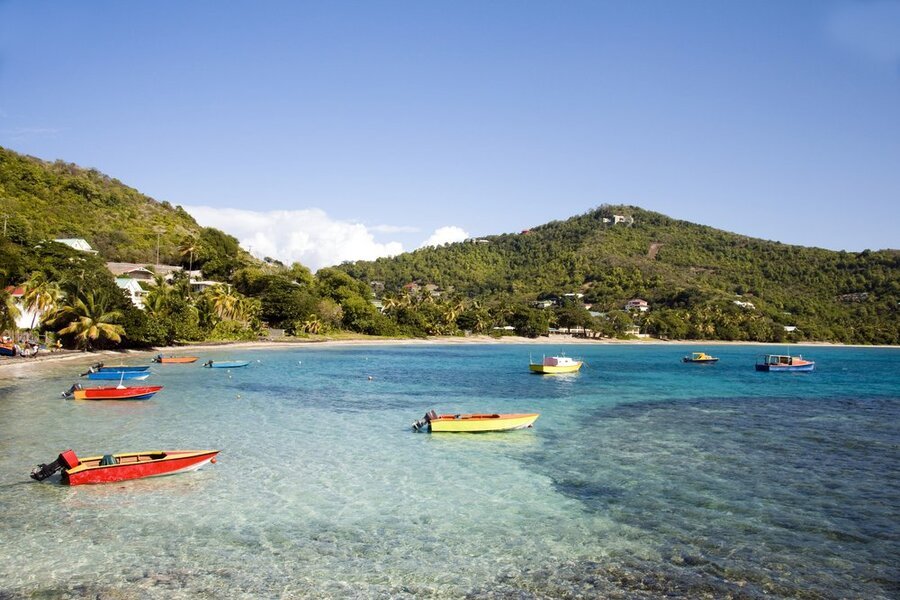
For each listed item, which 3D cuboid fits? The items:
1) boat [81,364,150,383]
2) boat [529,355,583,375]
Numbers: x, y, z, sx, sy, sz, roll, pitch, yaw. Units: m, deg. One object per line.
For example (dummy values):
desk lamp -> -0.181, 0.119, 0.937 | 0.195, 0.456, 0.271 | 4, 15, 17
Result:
boat -> -37.092, 8.047, 75.410 | 6.514, 1.880, 2.306 | -1, 1, -11
boat -> 16.625, 10.132, 107.662 | 8.216, 2.573, 2.596 | -1, 3, -29
